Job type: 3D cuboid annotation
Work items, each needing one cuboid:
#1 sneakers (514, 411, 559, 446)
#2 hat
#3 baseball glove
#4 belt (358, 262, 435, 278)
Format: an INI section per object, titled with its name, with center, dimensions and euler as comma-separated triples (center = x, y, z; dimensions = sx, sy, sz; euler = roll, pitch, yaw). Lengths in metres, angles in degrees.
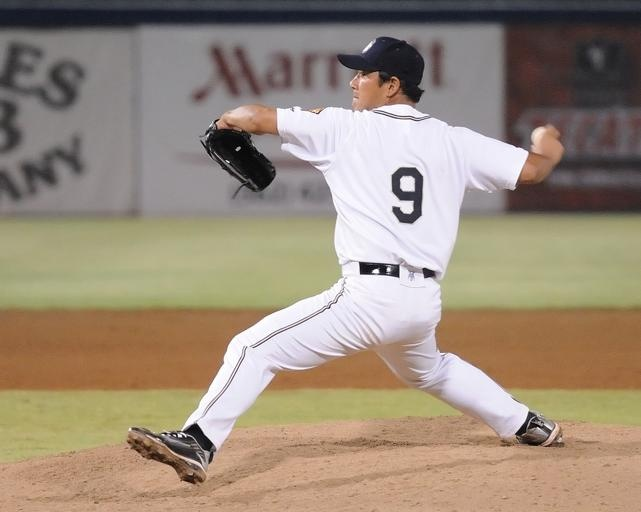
[sneakers]
center = 1.413, 1.178, 8.241
dimensions = 0.172, 0.155, 0.350
euler = 23, -11, -35
[hat]
center = 0.418, -1.327, 7.962
dimensions = 0.625, 0.241, 0.367
euler = 5, 21, -2
[baseball glove]
center = -0.513, -0.655, 8.015
dimensions = 0.562, 0.385, 0.225
euler = 38, 21, -21
[belt]
center = 0.496, 0.090, 7.719
dimensions = 0.493, 0.056, 0.092
euler = 4, 4, -17
